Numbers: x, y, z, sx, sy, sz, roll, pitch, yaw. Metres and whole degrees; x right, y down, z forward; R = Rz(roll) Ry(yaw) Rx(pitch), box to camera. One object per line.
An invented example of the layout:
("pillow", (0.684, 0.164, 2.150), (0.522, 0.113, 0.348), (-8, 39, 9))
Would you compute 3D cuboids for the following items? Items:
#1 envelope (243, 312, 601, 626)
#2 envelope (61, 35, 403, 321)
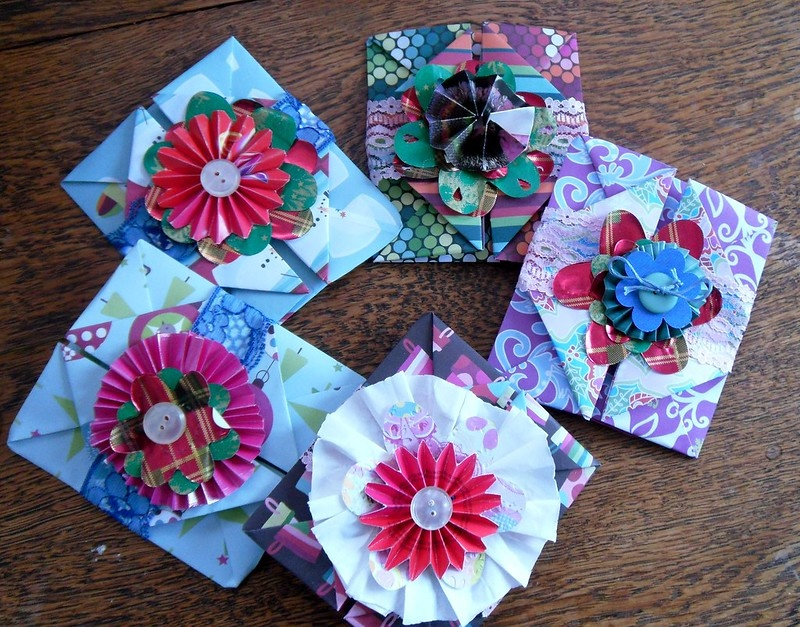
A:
("envelope", (0.044, 0.267, 1.112), (0.361, 0.149, 0.472), (37, 85, 5))
("envelope", (-0.242, -0.181, 1.240), (0.462, 0.134, 0.495), (-43, 93, -5))
